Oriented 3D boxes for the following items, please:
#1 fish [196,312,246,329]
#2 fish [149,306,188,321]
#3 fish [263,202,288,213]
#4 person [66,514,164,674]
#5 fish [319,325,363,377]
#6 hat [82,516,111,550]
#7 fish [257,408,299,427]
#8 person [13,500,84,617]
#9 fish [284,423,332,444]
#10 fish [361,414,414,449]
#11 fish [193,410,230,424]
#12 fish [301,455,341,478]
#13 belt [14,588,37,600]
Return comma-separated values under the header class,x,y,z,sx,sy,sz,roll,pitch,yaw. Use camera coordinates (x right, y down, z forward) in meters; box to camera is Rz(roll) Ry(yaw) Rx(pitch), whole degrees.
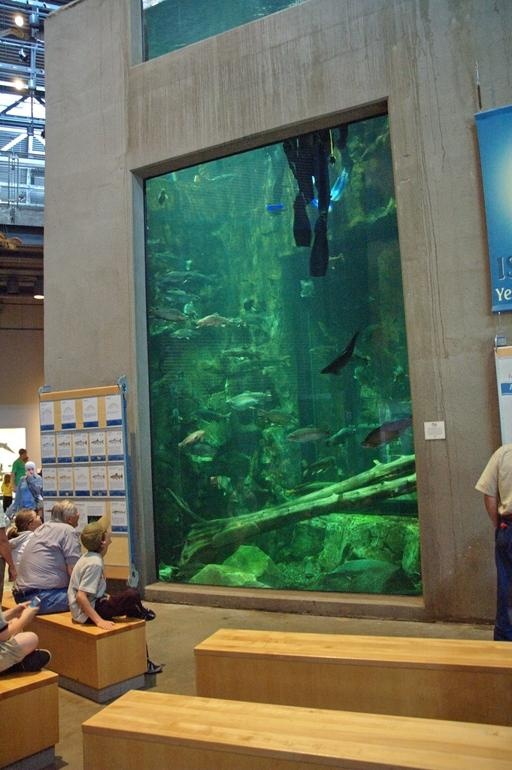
class,x,y,z,sx,sy,sz,roll,pitch,yaw
fish,-0.385,-0.676,7.106,0.574,0.184,0.027,-8,-6,27
fish,-0.936,-0.782,7.327,0.455,0.188,0.085,10,5,7
fish,0.205,-1.809,6.849,0.174,0.089,0.043,4,6,37
person,-0.919,1.414,4.405,0.603,0.996,0.459,-1,-10,-23
fish,0.810,-0.275,6.329,0.222,0.562,0.163,37,5,-23
hat,-1.019,0.967,4.254,0.126,0.199,0.245,-5,-5,2
fish,0.207,0.321,6.636,0.448,0.176,0.021,-9,-7,38
person,-1.351,1.202,4.777,0.546,0.735,0.561,2,-16,2
fish,0.496,0.470,6.548,0.523,0.258,0.130,-7,-1,23
fish,1.160,0.419,5.966,0.513,0.248,0.024,-10,-7,42
fish,-0.457,0.323,7.037,0.424,0.151,0.022,-8,-6,30
fish,0.604,0.781,6.355,0.356,0.200,0.065,-10,-7,43
belt,-1.564,1.417,4.545,0.129,0.051,0.096,-1,-2,-6
